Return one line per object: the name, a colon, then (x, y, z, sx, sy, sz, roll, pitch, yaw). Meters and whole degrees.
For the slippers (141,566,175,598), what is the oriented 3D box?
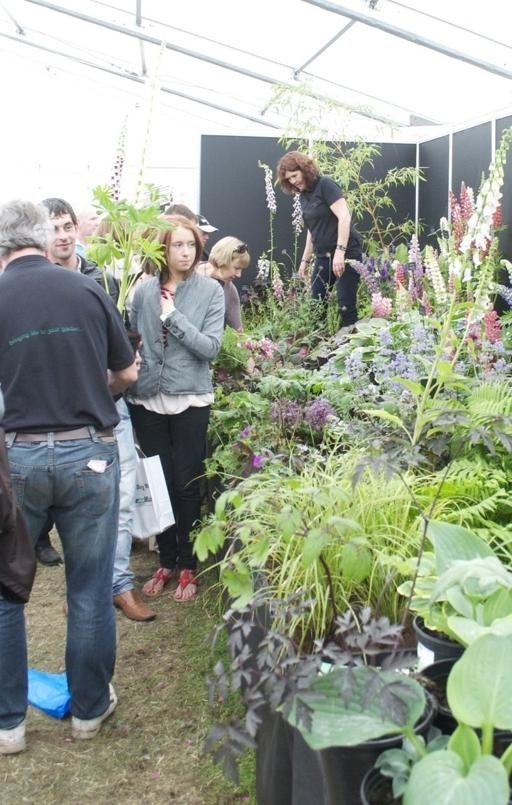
slippers: (-0.511, 0.933, 3.258, 0.074, 0.084, 0.199, 8, 10, 15)

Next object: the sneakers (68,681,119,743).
sneakers: (-0.564, 1.068, 2.212, 0.078, 0.089, 0.211, 5, 32, 13)

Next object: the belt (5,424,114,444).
belt: (-0.600, 0.113, 1.935, 0.319, 0.058, 0.076, -4, 9, -24)

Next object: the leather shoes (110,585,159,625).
leather shoes: (-0.588, 0.956, 3.018, 0.093, 0.109, 0.264, -13, 18, -42)
